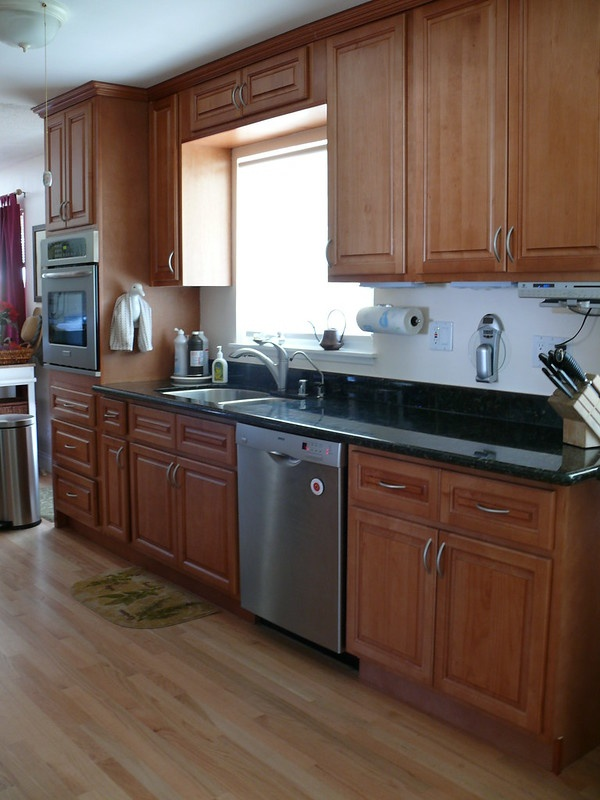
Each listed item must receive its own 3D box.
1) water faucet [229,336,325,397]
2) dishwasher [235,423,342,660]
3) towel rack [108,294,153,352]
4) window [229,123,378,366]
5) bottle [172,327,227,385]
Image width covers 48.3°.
[{"bbox_3d":[-0.119,-0.148,3.031,0.407,0.219,0.059,4,11,-9],"label":"water faucet"},{"bbox_3d":[0.078,0.445,2.418,0.541,0.693,0.455,4,7,35],"label":"dishwasher"},{"bbox_3d":[-0.881,-0.397,3.483,0.228,0.289,0.084,-2,2,-28],"label":"towel rack"},{"bbox_3d":[0.023,-0.711,3.010,0.141,1.211,1.052,-4,8,-33],"label":"window"},{"bbox_3d":[-0.523,-0.229,3.546,0.301,0.337,0.301,2,6,26],"label":"bottle"}]
